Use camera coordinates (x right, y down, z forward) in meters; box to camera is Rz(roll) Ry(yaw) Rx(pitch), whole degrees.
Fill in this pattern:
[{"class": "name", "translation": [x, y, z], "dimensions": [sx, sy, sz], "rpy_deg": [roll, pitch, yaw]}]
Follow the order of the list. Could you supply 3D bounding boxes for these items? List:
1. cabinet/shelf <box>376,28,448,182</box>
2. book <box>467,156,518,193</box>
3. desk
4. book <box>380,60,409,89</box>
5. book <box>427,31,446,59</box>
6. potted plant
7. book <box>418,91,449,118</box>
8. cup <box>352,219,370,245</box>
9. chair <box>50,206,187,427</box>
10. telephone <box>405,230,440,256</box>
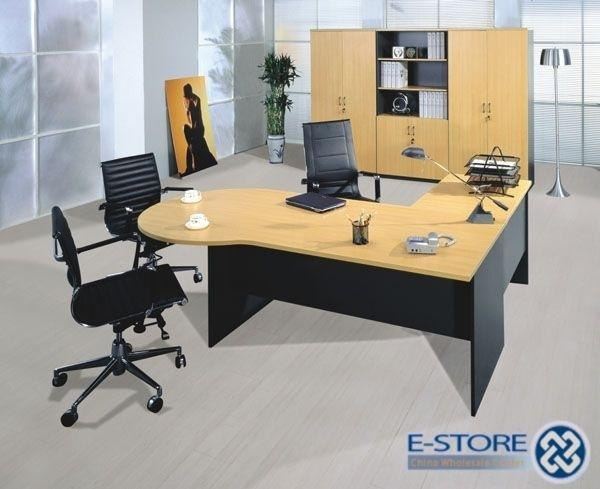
[{"class": "cabinet/shelf", "translation": [1.789, -2.117, 7.403], "dimensions": [0.963, 2.517, 0.531], "rpy_deg": [4, 22, 15]}, {"class": "book", "translation": [1.649, -0.710, 3.973], "dimensions": [0.346, 0.339, 0.490], "rpy_deg": [6, 21, 24]}, {"class": "desk", "translation": [0.310, 0.206, 3.459], "dimensions": [2.530, 0.981, 1.488], "rpy_deg": [5, 20, 20]}, {"class": "book", "translation": [1.462, -2.643, 7.227], "dimensions": [0.432, 0.415, 0.280], "rpy_deg": [-2, 17, 0]}, {"class": "book", "translation": [1.996, -2.912, 6.862], "dimensions": [0.315, 0.509, 0.333], "rpy_deg": [4, 15, 21]}, {"class": "potted plant", "translation": [-0.382, -2.664, 8.924], "dimensions": [0.727, 1.936, 1.529], "rpy_deg": [-3, 17, -3]}, {"class": "book", "translation": [2.013, -2.021, 7.037], "dimensions": [0.329, 0.529, 0.492], "rpy_deg": [7, 16, 30]}, {"class": "cup", "translation": [0.365, -0.075, 2.883], "dimensions": [0.114, 0.135, 0.116], "rpy_deg": [-2, 17, 0]}, {"class": "chair", "translation": [-1.095, 0.399, 2.870], "dimensions": [0.749, 1.158, 0.861], "rpy_deg": [18, 20, 42]}, {"class": "telephone", "translation": [0.720, -0.006, 2.727], "dimensions": [0.197, 0.088, 0.134], "rpy_deg": [1, 19, 8]}]
